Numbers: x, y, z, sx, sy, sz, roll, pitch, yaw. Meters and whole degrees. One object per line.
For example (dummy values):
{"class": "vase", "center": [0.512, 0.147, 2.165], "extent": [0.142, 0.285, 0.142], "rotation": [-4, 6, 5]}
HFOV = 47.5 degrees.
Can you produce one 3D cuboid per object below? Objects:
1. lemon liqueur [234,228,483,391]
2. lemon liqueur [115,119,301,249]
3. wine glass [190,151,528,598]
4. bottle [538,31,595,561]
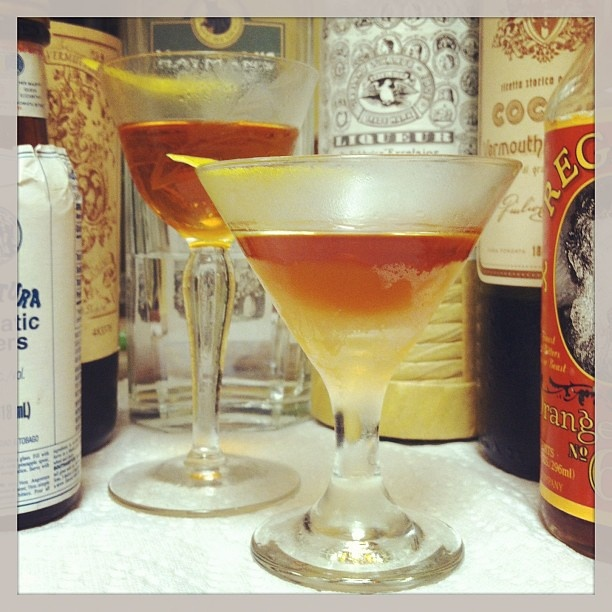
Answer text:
{"class": "lemon liqueur", "center": [0.028, -0.004, 0.395], "extent": [0.132, 0.066, 0.107], "rotation": [0, 6, 1]}
{"class": "lemon liqueur", "center": [-0.088, -0.094, 0.570], "extent": [0.132, 0.066, 0.112], "rotation": [0, 6, 4]}
{"class": "wine glass", "center": [0.027, 0.041, 0.431], "extent": [0.227, 0.207, 0.186], "rotation": [1, -19, -2]}
{"class": "bottle", "center": [0.167, -0.006, 0.437], "extent": [0.033, 0.318, 0.069], "rotation": [1, 8, 14]}
